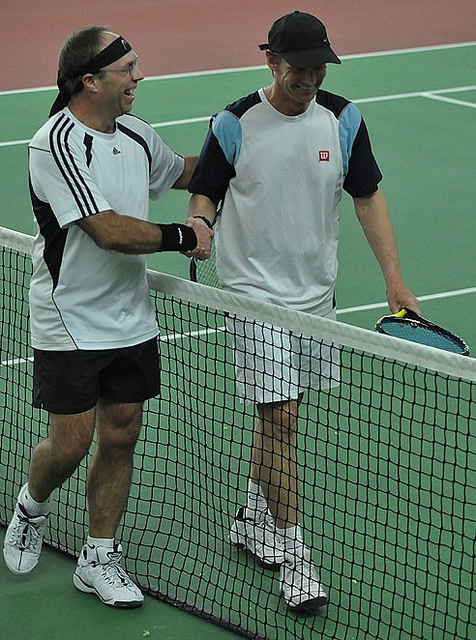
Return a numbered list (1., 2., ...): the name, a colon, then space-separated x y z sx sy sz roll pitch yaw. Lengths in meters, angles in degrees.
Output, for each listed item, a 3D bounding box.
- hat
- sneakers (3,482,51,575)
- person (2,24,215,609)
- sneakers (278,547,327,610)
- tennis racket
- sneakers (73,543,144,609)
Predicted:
1. hat: 0.242 -1.026 2.346 0.227 0.166 0.341 -11 31 -25
2. sneakers: -0.839 0.867 2.628 0.146 0.433 0.168 9 -15 -18
3. person: -0.538 0.048 2.316 0.801 2.046 0.591 -4 14 -11
4. sneakers: 0.246 0.946 2.450 0.171 0.261 0.261 0 14 3
5. tennis racket: 0.624 0.073 2.199 0.169 0.070 0.306 17 3 -33
6. sneakers: -0.514 0.943 2.509 0.130 0.202 0.384 2 7 -45
